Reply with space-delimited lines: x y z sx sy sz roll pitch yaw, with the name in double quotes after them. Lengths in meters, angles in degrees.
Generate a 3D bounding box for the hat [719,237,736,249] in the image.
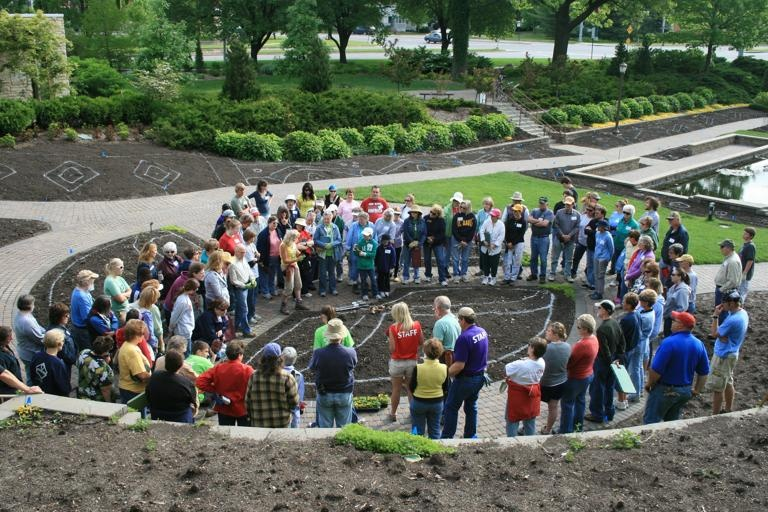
13.316 -0.475 45.002 0.490 0.407 0.494 3 12 15 "hat"

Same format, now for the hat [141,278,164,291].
-8.654 1.108 43.051 0.699 0.554 1.215 -2 12 -9 "hat"

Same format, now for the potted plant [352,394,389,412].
-0.508 5.389 42.546 0.940 0.299 0.677 1 19 -1 "potted plant"

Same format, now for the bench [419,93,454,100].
3.248 -10.131 72.470 2.117 0.444 5.253 1 12 4 "bench"

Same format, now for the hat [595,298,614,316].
7.942 1.829 42.110 0.753 0.386 0.530 32 40 29 "hat"

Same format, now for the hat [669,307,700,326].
10.702 2.239 41.598 0.885 0.448 0.582 31 30 26 "hat"

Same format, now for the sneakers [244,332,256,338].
-5.254 3.035 44.919 0.383 0.157 0.208 -2 16 10 "sneakers"

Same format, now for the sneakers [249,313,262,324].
-5.088 2.490 45.668 0.536 0.240 0.221 0 7 36 "sneakers"

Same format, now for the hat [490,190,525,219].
5.406 -2.149 48.176 0.750 1.117 0.584 3 12 12 "hat"

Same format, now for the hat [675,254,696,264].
11.445 0.087 44.198 0.610 0.304 0.398 4 4 30 "hat"

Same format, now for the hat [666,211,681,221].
11.624 -1.605 46.230 0.625 0.316 0.430 1 3 -20 "hat"

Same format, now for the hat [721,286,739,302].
12.694 1.442 42.387 0.584 0.362 0.467 4 12 17 "hat"
